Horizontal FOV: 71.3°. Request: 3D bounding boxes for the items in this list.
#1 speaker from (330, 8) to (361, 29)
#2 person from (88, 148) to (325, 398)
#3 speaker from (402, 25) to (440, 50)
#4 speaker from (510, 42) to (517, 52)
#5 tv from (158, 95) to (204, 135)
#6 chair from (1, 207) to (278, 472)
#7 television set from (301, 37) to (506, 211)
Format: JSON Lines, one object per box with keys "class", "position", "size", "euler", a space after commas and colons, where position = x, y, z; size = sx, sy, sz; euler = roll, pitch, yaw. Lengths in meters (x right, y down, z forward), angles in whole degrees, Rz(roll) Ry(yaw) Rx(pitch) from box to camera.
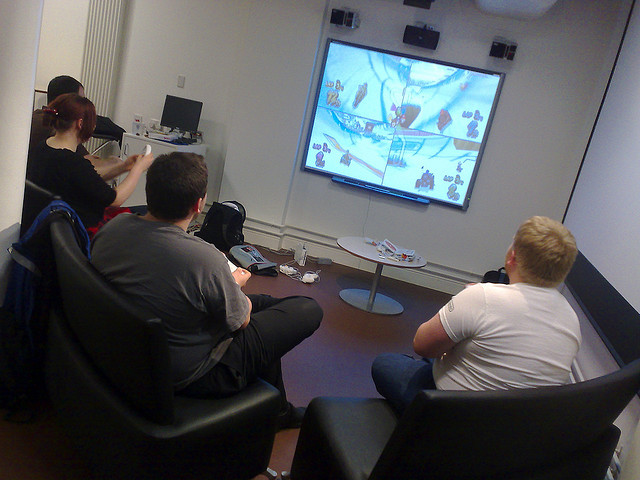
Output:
{"class": "speaker", "position": [0.264, -2.352, 4.737], "size": [0.284, 0.171, 0.098], "euler": [12, 10, 11]}
{"class": "person", "position": [-0.544, 0.202, 2.162], "size": [0.834, 1.288, 0.825], "euler": [24, 29, 34]}
{"class": "speaker", "position": [1.070, -2.124, 4.697], "size": [0.370, 0.190, 0.104], "euler": [14, 17, 7]}
{"class": "speaker", "position": [1.958, -1.949, 4.511], "size": [0.086, 0.094, 0.065], "euler": [9, 42, 11]}
{"class": "tv", "position": [-1.578, -1.428, 5.074], "size": [0.423, 0.433, 0.103], "euler": [15, 3, 9]}
{"class": "chair", "position": [-0.764, 0.448, 1.793], "size": [0.512, 0.716, 0.987], "euler": [-7, 25, -40]}
{"class": "television set", "position": [0.990, -1.320, 4.863], "size": [1.504, 1.211, 0.157], "euler": [17, 16, 2]}
